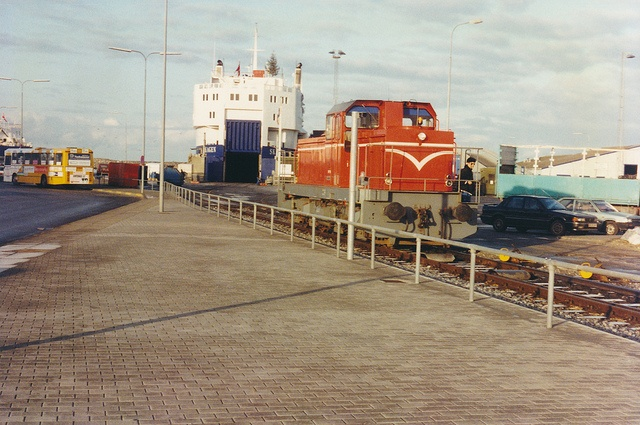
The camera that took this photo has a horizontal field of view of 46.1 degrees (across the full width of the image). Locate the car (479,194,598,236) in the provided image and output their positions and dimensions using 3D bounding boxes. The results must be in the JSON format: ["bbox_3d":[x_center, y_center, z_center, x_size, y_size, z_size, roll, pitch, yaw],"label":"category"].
[{"bbox_3d":[8.726,0.136,30.237,3.804,1.144,1.746,0,-1,44],"label":"car"}]

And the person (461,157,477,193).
[{"bbox_3d":[4.447,-1.068,22.371,0.408,1.090,1.343,6,6,13],"label":"person"}]

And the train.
[{"bbox_3d":[0.879,-2.117,24.806,3.074,2.918,8.416,1,6,-29],"label":"train"}]
